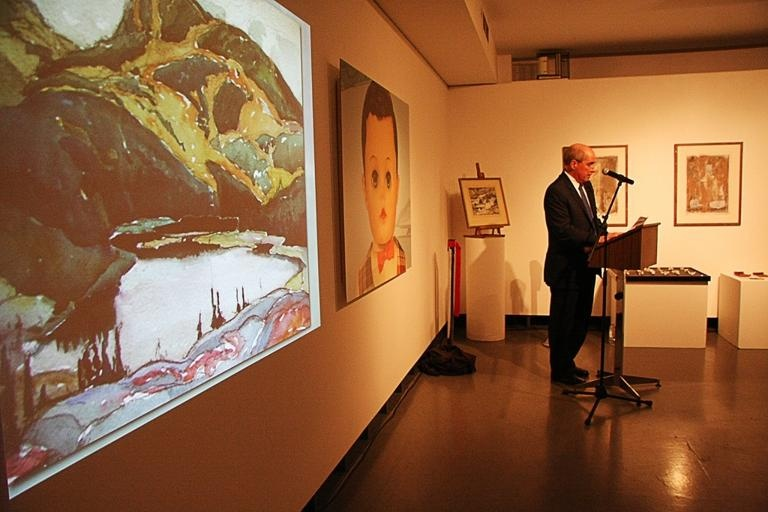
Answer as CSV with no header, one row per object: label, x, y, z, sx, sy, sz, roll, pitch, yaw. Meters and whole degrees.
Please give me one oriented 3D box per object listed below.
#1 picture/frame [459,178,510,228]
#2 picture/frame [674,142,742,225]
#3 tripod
picture/frame,1.283,-0.687,7.081,0.699,0.788,0.104,-3,-24,-22
picture/frame,4.294,-0.969,7.297,1.072,1.493,0.054,0,0,8
tripod,2.039,0.516,4.927,0.743,1.635,1.096,3,9,27
